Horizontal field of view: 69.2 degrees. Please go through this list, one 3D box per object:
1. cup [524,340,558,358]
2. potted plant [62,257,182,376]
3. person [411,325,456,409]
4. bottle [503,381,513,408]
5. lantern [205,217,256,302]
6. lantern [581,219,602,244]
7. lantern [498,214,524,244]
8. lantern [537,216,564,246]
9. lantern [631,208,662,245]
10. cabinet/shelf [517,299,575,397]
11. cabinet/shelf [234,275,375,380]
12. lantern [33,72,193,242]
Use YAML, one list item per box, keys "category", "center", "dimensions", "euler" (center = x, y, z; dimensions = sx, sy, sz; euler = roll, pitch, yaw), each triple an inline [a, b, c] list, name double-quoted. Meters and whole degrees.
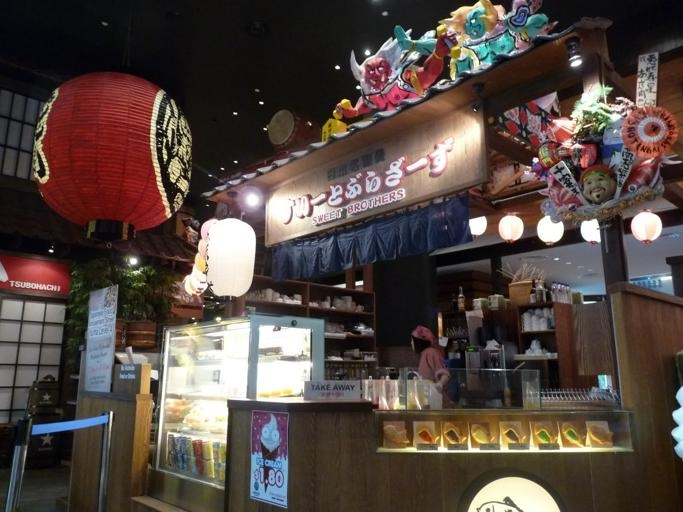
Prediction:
- category: "cup"
  center: [2.869, 1.361, 7.100]
  dimensions: [0.335, 0.176, 0.500]
  euler: [0, -5, 11]
- category: "potted plant"
  center: [-3.173, 0.873, 7.117]
  dimensions: [1.604, 1.724, 1.080]
  euler: [9, -17, -39]
- category: "person"
  center: [0.954, 1.153, 5.250]
  dimensions: [0.278, 0.390, 0.995]
  euler: [-6, 17, 0]
- category: "bottle"
  center: [1.290, 1.066, 3.826]
  dimensions: [0.061, 0.170, 0.041]
  euler: [2, 3, 2]
- category: "lantern"
  center: [-1.051, 0.056, 4.850]
  dimensions: [0.562, 1.020, 0.613]
  euler: [1, -9, -26]
- category: "lantern"
  center: [3.041, -0.293, 6.028]
  dimensions: [0.195, 0.266, 0.455]
  euler: [3, 4, 25]
- category: "lantern"
  center: [2.163, -0.360, 6.399]
  dimensions: [0.338, 0.424, 0.347]
  euler: [-2, 9, -25]
- category: "lantern"
  center: [2.566, -0.320, 6.071]
  dimensions: [0.308, 0.389, 0.323]
  euler: [-8, -9, 9]
- category: "lantern"
  center: [3.799, -0.354, 6.203]
  dimensions: [0.369, 0.476, 0.385]
  euler: [-8, 10, -10]
- category: "cabinet/shelf"
  center: [2.984, 1.203, 7.079]
  dimensions: [0.633, 1.136, 1.100]
  euler: [1, 3, -4]
- category: "cabinet/shelf"
  center: [-0.476, 0.994, 6.922]
  dimensions: [1.662, 1.544, 0.540]
  euler: [12, -18, -42]
- category: "lantern"
  center: [-1.852, -0.735, 4.463]
  dimensions: [1.242, 1.623, 1.304]
  euler: [1, -1, 11]
